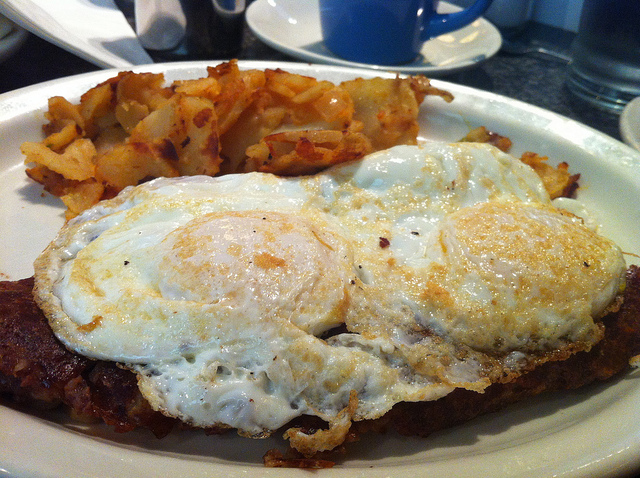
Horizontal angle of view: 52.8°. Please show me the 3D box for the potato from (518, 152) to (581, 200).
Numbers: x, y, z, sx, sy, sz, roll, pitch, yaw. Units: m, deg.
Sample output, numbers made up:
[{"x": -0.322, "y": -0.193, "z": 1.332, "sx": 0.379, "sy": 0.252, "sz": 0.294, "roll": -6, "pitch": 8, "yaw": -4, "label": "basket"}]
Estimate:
[{"x": 0.764, "y": -0.207, "z": 2.119, "sx": 0.179, "sy": 0.062, "sz": 0.145, "roll": 37, "pitch": 25, "yaw": 18, "label": "potato"}]

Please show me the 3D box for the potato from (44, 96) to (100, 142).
[{"x": -0.791, "y": -0.393, "z": 2.087, "sx": 0.041, "sy": 0.154, "sz": 0.145, "roll": -26, "pitch": 88, "yaw": -51, "label": "potato"}]

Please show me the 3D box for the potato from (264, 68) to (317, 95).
[{"x": -0.088, "y": -0.494, "z": 2.016, "sx": 0.110, "sy": 0.036, "sz": 0.117, "roll": 24, "pitch": 26, "yaw": 33, "label": "potato"}]

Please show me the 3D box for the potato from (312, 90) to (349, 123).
[{"x": 0.033, "y": -0.418, "z": 2.015, "sx": 0.101, "sy": 0.029, "sz": 0.096, "roll": -41, "pitch": 81, "yaw": -6, "label": "potato"}]

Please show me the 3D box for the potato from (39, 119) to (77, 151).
[{"x": -0.808, "y": -0.333, "z": 2.034, "sx": 0.109, "sy": 0.044, "sz": 0.111, "roll": 10, "pitch": 50, "yaw": 27, "label": "potato"}]

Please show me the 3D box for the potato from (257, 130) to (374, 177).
[{"x": 0.021, "y": -0.294, "z": 2.014, "sx": 0.298, "sy": 0.281, "sz": 0.090, "roll": 12, "pitch": 102, "yaw": 26, "label": "potato"}]

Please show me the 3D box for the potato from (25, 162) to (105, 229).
[{"x": -0.773, "y": -0.168, "z": 2.002, "sx": 0.257, "sy": 0.079, "sz": 0.280, "roll": -3, "pitch": 31, "yaw": -21, "label": "potato"}]

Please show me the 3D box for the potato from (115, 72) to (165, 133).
[{"x": -0.581, "y": -0.434, "z": 2.078, "sx": 0.141, "sy": 0.081, "sz": 0.187, "roll": 25, "pitch": 73, "yaw": -1, "label": "potato"}]

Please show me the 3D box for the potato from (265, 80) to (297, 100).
[{"x": -0.124, "y": -0.456, "z": 2.007, "sx": 0.081, "sy": 0.023, "sz": 0.053, "roll": 13, "pitch": 33, "yaw": -10, "label": "potato"}]
